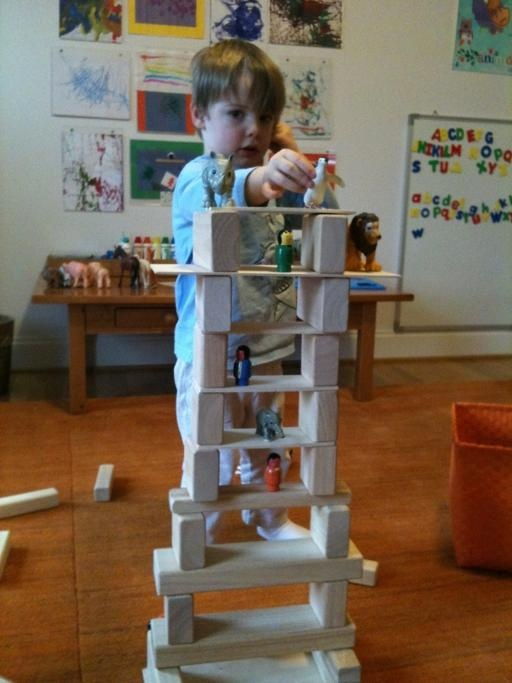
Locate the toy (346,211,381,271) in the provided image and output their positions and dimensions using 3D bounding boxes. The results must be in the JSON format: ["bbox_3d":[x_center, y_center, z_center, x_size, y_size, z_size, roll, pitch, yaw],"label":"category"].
[{"bbox_3d":[0.218,-0.209,1.271,0.057,0.120,0.149,-3,14,-13],"label":"toy"}]

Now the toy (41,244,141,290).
[{"bbox_3d":[-0.874,-0.361,2.950,0.635,0.274,0.220,1,5,-8],"label":"toy"}]
